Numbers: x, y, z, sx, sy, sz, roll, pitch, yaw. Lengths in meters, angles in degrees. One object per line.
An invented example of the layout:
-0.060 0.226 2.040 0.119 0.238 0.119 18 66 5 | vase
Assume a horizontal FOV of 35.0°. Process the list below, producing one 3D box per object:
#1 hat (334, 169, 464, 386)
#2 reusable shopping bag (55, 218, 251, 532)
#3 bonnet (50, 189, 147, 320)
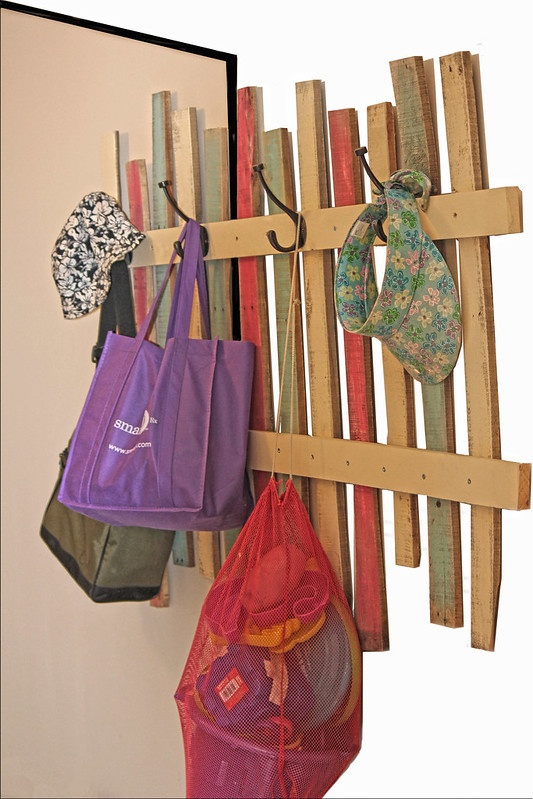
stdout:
0.160 -0.144 1.019 0.128 0.257 0.115 -2 8 -26 | hat
-0.147 -0.030 1.248 0.250 0.464 0.141 2 -19 15 | reusable shopping bag
-0.267 -0.233 1.335 0.055 0.165 0.212 -18 0 -42 | bonnet
